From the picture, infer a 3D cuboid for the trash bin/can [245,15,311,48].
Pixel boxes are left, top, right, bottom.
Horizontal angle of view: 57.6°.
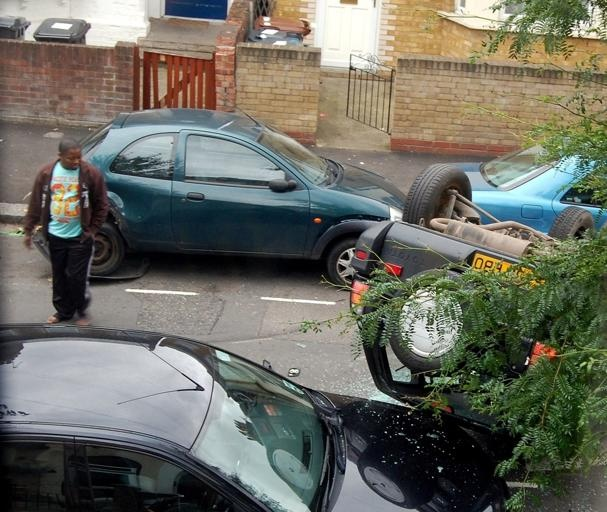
[{"bbox_3d":[-0.598,-5.675,13.977,1.484,0.723,2.023,6,19,-5],"label":"trash bin/can"}]
